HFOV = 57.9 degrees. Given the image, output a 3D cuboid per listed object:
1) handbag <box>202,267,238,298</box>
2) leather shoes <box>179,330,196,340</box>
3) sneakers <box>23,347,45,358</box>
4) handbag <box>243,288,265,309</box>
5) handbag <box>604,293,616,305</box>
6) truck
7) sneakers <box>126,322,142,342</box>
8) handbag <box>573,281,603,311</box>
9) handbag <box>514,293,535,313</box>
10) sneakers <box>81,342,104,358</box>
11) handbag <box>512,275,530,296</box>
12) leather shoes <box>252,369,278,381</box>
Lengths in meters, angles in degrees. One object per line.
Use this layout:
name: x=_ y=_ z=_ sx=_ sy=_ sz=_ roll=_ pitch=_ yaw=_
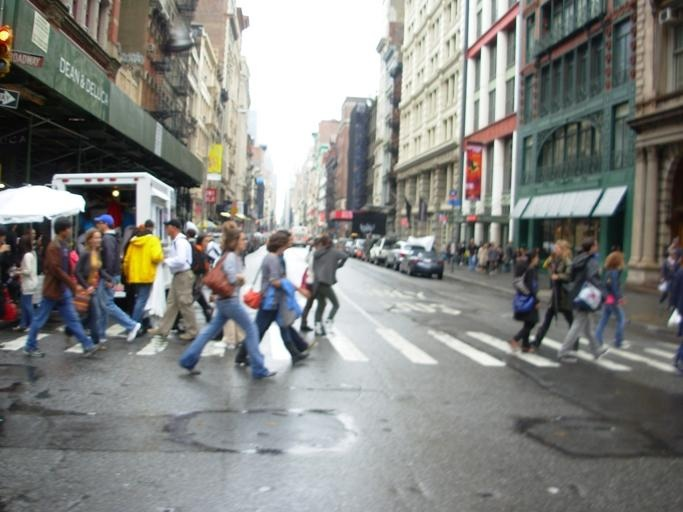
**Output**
handbag: x=-1.809 y=0.424 z=9.138 sx=0.430 sy=0.450 sz=0.176 roll=-39 pitch=6 yaw=1
leather shoes: x=-3.030 y=1.535 z=12.140 sx=0.415 sy=0.214 sz=0.183 roll=3 pitch=-5 yaw=6
sneakers: x=-5.084 y=1.597 z=10.204 sx=0.399 sy=0.206 sz=0.148 roll=2 pitch=-2 yaw=-1
handbag: x=-1.396 y=0.677 z=9.893 sx=0.333 sy=0.397 sz=0.254 roll=0 pitch=6 yaw=-15
handbag: x=5.506 y=0.880 z=12.646 sx=0.192 sy=0.235 sz=0.130 roll=3 pitch=3 yaw=23
truck: x=-5.880 y=-0.561 z=17.071 sx=2.698 sy=3.148 sz=4.490 roll=2 pitch=5 yaw=3
sneakers: x=-3.919 y=1.457 z=11.728 sx=0.216 sy=0.568 sz=0.201 roll=15 pitch=33 yaw=-8
handbag: x=4.424 y=0.723 z=11.103 sx=0.381 sy=0.316 sz=0.129 roll=-54 pitch=8 yaw=-28
handbag: x=3.428 y=0.886 z=11.539 sx=0.261 sy=0.208 sz=0.151 roll=-30 pitch=-11 yaw=-2
sneakers: x=-4.199 y=1.594 z=10.531 sx=0.128 sy=0.172 sz=0.336 roll=0 pitch=26 yaw=45
handbag: x=3.330 y=0.594 z=11.560 sx=0.256 sy=0.396 sz=0.155 roll=4 pitch=10 yaw=7
leather shoes: x=-1.142 y=1.761 z=9.350 sx=0.398 sy=0.225 sz=0.146 roll=-7 pitch=9 yaw=-12
